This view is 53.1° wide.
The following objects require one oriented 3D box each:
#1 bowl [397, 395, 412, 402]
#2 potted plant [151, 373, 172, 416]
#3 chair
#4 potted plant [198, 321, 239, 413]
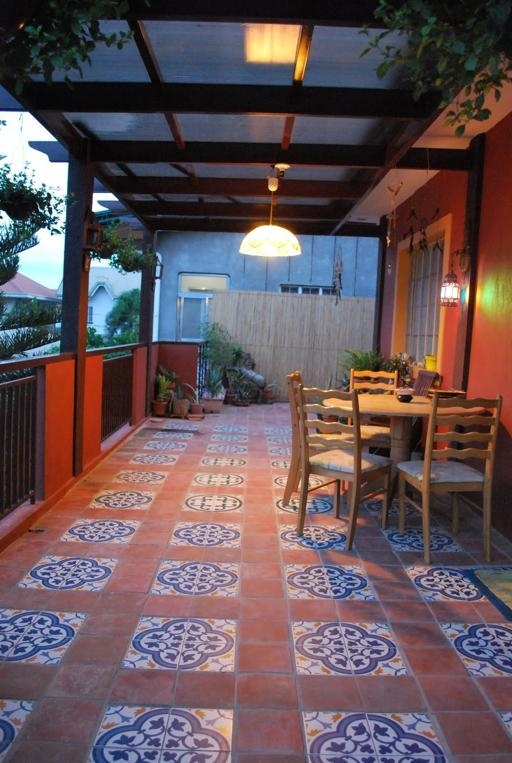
[{"bbox_3d":[1.120,0.131,3.829,0.069,0.043,0.069,-2,3,0],"label":"bowl"},{"bbox_3d":[-1.377,0.223,7.503,0.247,0.565,0.436,3,4,9],"label":"potted plant"},{"bbox_3d":[0.930,0.599,3.400,0.833,1.442,0.911,0,28,-8],"label":"chair"},{"bbox_3d":[-0.616,-0.255,8.554,0.630,1.434,1.685,3,3,-2],"label":"potted plant"}]
